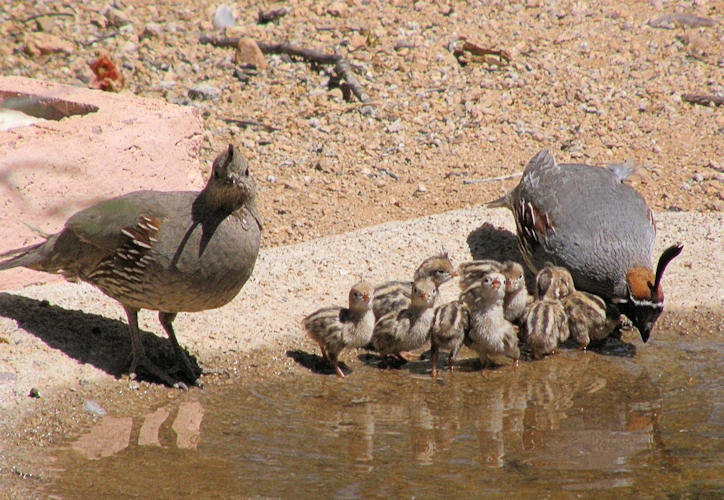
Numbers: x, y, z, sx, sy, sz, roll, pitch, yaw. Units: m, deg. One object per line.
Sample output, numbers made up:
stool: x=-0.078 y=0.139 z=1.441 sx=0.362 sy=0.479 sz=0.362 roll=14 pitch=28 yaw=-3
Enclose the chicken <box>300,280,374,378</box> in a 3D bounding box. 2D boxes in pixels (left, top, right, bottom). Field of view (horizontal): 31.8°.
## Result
chicken: x=-0.337 y=1.072 z=16.634 sx=0.869 sy=0.942 sz=1.555 roll=9 pitch=16 yaw=31
